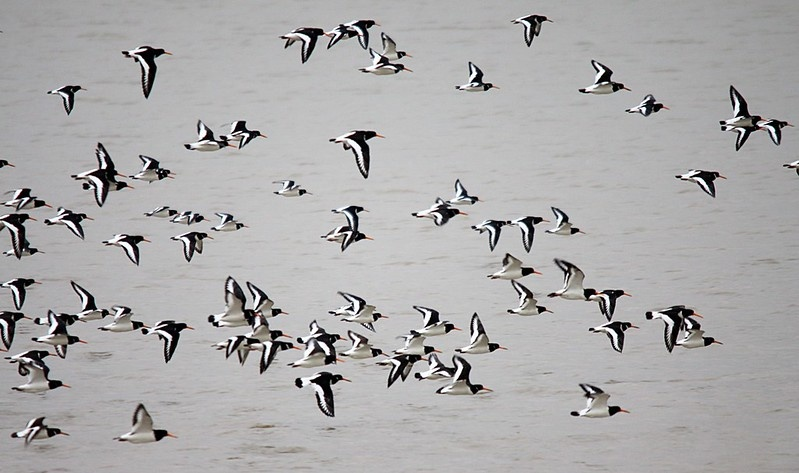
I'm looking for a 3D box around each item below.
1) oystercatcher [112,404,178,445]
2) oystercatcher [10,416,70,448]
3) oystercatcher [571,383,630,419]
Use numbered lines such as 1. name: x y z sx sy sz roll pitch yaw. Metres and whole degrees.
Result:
1. oystercatcher: -5.127 3.848 23.525 1.485 0.382 1.250 -4 -17 -6
2. oystercatcher: -7.347 3.961 23.969 1.019 0.181 0.948 5 4 -5
3. oystercatcher: 4.063 3.431 24.178 1.248 0.292 1.067 3 1 -4
